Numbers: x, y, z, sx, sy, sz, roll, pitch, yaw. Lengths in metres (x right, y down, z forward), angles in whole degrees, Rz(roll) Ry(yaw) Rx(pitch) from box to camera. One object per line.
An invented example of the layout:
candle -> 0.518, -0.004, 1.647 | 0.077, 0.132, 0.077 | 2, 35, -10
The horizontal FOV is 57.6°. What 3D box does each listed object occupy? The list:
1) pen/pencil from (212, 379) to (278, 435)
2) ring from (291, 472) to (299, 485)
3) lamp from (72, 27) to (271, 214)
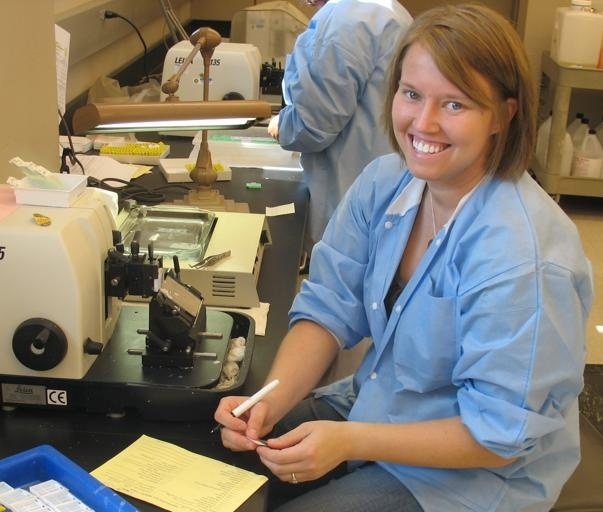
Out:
pen/pencil -> -0.121, 0.318, 1.146 | 0.018, 0.177, 0.019 | 35, 21, -19
ring -> -0.014, 0.426, 1.055 | 0.011, 0.028, 0.015 | 3, 11, 20
lamp -> -0.404, -0.379, 1.605 | 0.497, 0.540, 0.376 | -11, 22, -33
